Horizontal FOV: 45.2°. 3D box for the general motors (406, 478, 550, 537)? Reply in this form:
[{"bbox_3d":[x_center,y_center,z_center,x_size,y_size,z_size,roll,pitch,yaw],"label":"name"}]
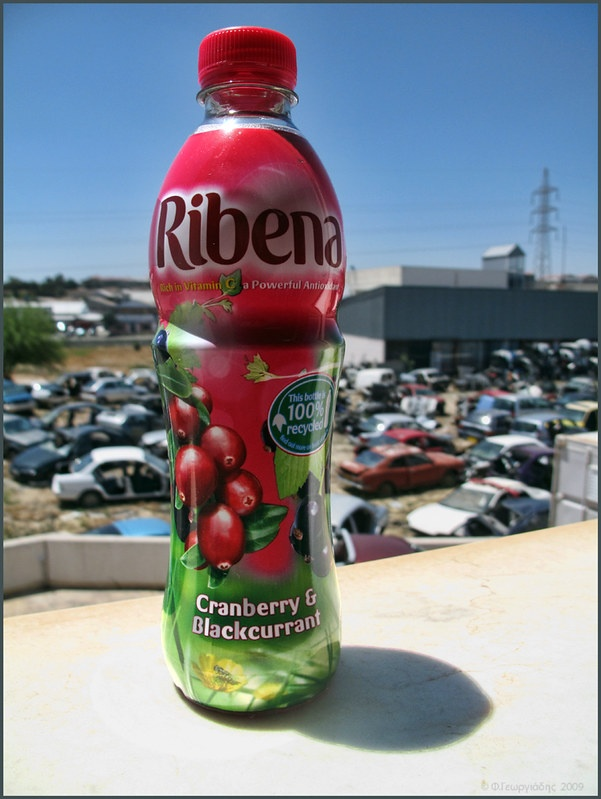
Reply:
[{"bbox_3d":[2.259,1.329,8.827,1.750,0.645,1.049,-6,7,-27],"label":"general motors"}]

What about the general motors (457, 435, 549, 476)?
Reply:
[{"bbox_3d":[3.057,0.787,10.748,1.011,0.484,0.603,-2,7,-28],"label":"general motors"}]

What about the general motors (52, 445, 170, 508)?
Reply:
[{"bbox_3d":[-2.644,1.124,11.106,2.153,0.763,1.105,-3,11,-23],"label":"general motors"}]

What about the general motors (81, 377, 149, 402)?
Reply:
[{"bbox_3d":[-4.334,-0.178,17.026,1.231,0.486,0.710,-6,11,-16],"label":"general motors"}]

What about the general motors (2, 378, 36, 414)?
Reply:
[{"bbox_3d":[-6.274,0.024,16.107,0.608,0.703,1.784,-4,7,-21],"label":"general motors"}]

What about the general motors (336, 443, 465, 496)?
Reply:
[{"bbox_3d":[1.598,1.132,11.537,1.617,0.484,0.846,-10,18,-19],"label":"general motors"}]
